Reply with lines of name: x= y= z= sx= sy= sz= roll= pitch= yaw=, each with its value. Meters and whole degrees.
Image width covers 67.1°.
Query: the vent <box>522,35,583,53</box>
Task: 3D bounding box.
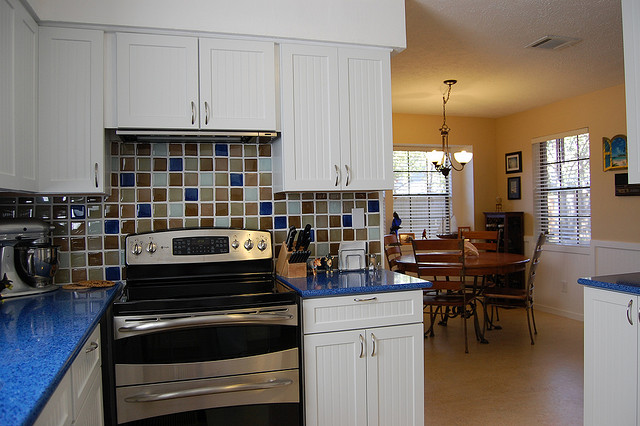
vent: x=2.192 y=-1.594 z=4.550 sx=0.416 sy=0.075 sz=0.317 roll=-2 pitch=6 yaw=-16

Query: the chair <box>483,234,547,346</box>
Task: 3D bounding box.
chair: x=2.173 y=0.823 z=5.466 sx=0.713 sy=1.058 sz=0.617 roll=-3 pitch=-3 yaw=22

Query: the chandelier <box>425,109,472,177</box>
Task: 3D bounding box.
chandelier: x=1.611 y=-0.916 z=6.189 sx=0.625 sy=0.922 sz=0.613 roll=0 pitch=0 yaw=12

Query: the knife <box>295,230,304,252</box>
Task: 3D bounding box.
knife: x=-0.150 y=0.200 z=3.550 sx=0.044 sy=0.158 sz=0.042 roll=11 pitch=13 yaw=1

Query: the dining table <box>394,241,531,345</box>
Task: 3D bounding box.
dining table: x=1.827 y=0.635 z=5.353 sx=1.252 sy=0.749 sz=1.269 roll=0 pitch=2 yaw=29

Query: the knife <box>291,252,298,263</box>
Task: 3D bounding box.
knife: x=-0.176 y=0.311 z=3.510 sx=0.054 sy=0.052 sz=0.008 roll=21 pitch=25 yaw=-25

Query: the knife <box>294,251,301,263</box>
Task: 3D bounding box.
knife: x=-0.164 y=0.304 z=3.517 sx=0.020 sy=0.130 sz=0.012 roll=22 pitch=28 yaw=-18

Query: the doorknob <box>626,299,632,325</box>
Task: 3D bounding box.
doorknob: x=1.980 y=0.620 z=3.093 sx=0.036 sy=0.152 sz=0.016 roll=4 pitch=8 yaw=37

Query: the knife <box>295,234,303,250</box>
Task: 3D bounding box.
knife: x=-0.143 y=0.200 z=3.510 sx=0.054 sy=0.138 sz=0.028 roll=6 pitch=9 yaw=4

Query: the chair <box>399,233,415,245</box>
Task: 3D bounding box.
chair: x=1.245 y=0.342 z=6.922 sx=0.279 sy=0.179 sz=0.147 roll=2 pitch=-3 yaw=-27

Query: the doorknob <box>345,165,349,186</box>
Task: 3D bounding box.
doorknob: x=0.203 y=-0.287 z=3.648 sx=0.024 sy=0.156 sz=0.017 roll=2 pitch=-4 yaw=-40

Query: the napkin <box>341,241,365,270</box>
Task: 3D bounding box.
napkin: x=0.250 y=0.316 z=3.713 sx=0.207 sy=0.260 sz=0.195 roll=0 pitch=-10 yaw=-1

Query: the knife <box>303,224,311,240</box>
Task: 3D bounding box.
knife: x=-0.093 y=0.124 z=3.489 sx=0.033 sy=0.091 sz=0.024 roll=27 pitch=13 yaw=3
